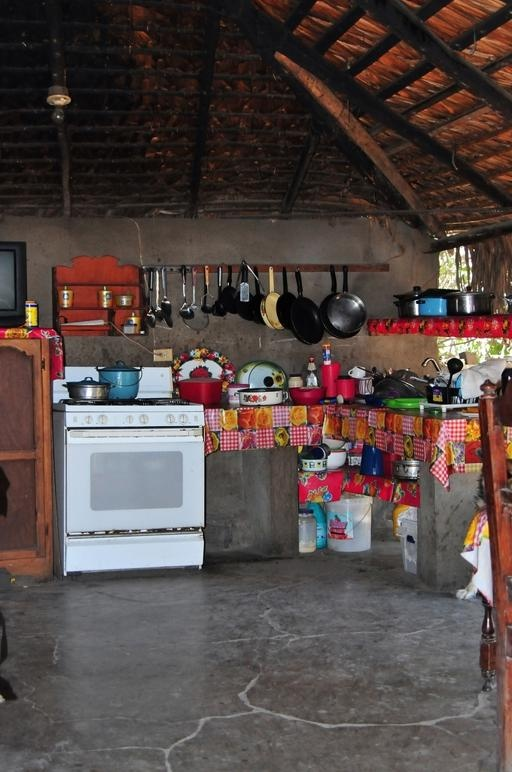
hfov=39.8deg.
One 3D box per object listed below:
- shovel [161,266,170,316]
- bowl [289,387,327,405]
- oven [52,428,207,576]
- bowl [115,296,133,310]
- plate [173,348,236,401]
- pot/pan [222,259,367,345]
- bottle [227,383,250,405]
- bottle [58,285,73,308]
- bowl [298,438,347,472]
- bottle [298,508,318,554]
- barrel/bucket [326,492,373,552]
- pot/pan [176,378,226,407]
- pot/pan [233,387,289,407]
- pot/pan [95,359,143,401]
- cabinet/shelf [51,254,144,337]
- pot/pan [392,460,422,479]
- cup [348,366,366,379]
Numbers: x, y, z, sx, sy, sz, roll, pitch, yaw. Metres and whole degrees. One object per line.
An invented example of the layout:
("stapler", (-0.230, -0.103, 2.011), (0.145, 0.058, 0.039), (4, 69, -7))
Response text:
("shovel", (-0.614, -0.632, 4.786), (0.067, 0.335, 0.037), (-3, -4, -3))
("bowl", (0.298, 0.063, 4.191), (0.204, 0.107, 0.199), (-1, -1, 0))
("oven", (-0.733, 0.575, 3.880), (0.746, 0.823, 0.592), (3, -5, -27))
("bowl", (-0.905, -0.561, 4.839), (0.093, 0.079, 0.093), (2, 0, 0))
("plate", (-0.337, -0.061, 4.590), (0.358, 0.359, 0.130), (7, -6, -17))
("pot/pan", (0.235, -0.567, 4.829), (0.974, 0.560, 0.487), (-1, -1, -3))
("bottle", (-0.121, 0.048, 4.413), (0.122, 0.118, 0.123), (0, -1, 30))
("bottle", (-1.277, -0.591, 4.744), (0.083, 0.157, 0.121), (-1, -1, -13))
("bowl", (0.389, 0.408, 4.162), (0.227, 0.090, 0.181), (-11, 10, -38))
("bottle", (0.307, 0.867, 4.233), (0.100, 0.233, 0.152), (-1, -1, 8))
("barrel/bucket", (0.565, 0.802, 4.268), (0.312, 0.309, 0.323), (-2, -2, 0))
("pot/pan", (-0.345, 0.036, 4.216), (0.203, 0.141, 0.159), (-1, 1, 24))
("pot/pan", (0.029, 0.070, 4.053), (0.246, 0.107, 0.240), (-1, -1, -4))
("pot/pan", (-0.779, -0.037, 3.964), (0.215, 0.202, 0.201), (-1, 5, -5))
("cabinet/shelf", (-1.102, -0.611, 4.792), (0.639, 0.618, 0.209), (0, 0, -12))
("pot/pan", (0.761, 0.431, 3.595), (0.047, 0.110, 0.178), (0, -1, -36))
("cup", (0.632, -0.082, 4.419), (0.074, 0.072, 0.097), (-1, 1, 30))
